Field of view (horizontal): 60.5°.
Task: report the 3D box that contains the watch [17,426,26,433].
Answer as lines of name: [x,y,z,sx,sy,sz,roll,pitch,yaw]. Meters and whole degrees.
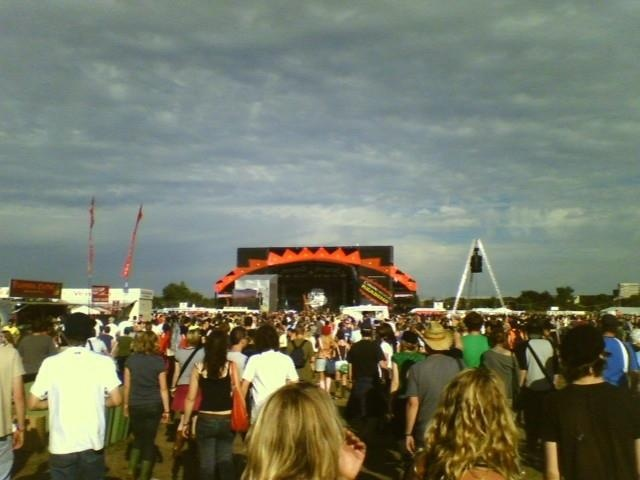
watch: [-3.134,1.961,5.738,0.074,0.057,0.082,-6,-14,20]

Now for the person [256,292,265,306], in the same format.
person: [-4.977,4.797,45.917,0.566,0.977,0.481,-1,-9,10]

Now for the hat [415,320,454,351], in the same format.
hat: [1.458,1.200,6.877,0.446,0.151,0.451,-8,7,2]
